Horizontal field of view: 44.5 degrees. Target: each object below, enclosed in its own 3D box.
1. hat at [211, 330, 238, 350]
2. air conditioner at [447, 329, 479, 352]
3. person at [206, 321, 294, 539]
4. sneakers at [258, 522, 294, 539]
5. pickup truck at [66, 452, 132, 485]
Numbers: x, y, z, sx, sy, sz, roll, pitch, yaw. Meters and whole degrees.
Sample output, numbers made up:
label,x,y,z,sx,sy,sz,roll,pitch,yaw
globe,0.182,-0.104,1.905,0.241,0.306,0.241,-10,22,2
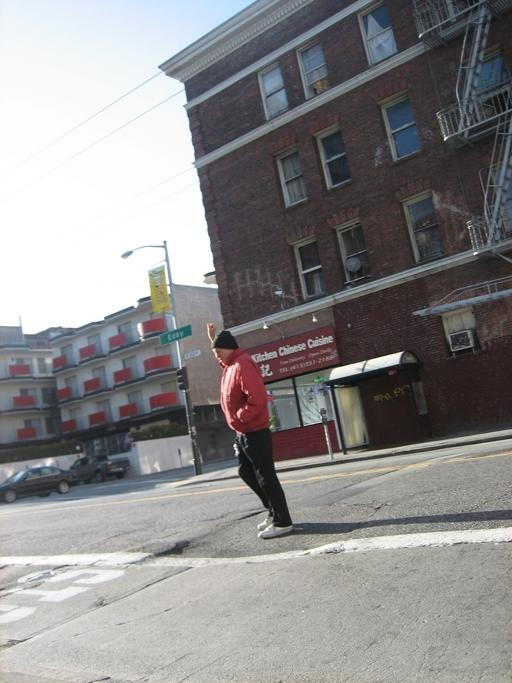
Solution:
label,x,y,z,sx,sy,sz,roll,pitch,yaw
hat,-0.256,-0.013,5.175,0.206,0.155,0.142,5,-7,-2
air conditioner,5.603,-0.005,16.863,0.520,0.447,0.315,-16,-26,38
person,-0.044,0.689,5.149,0.389,1.748,0.670,-13,-9,-3
sneakers,0.139,1.467,4.859,0.302,0.104,0.098,0,-10,-4
pickup truck,-9.590,7.808,38.201,4.007,1.300,1.841,-4,-8,39
